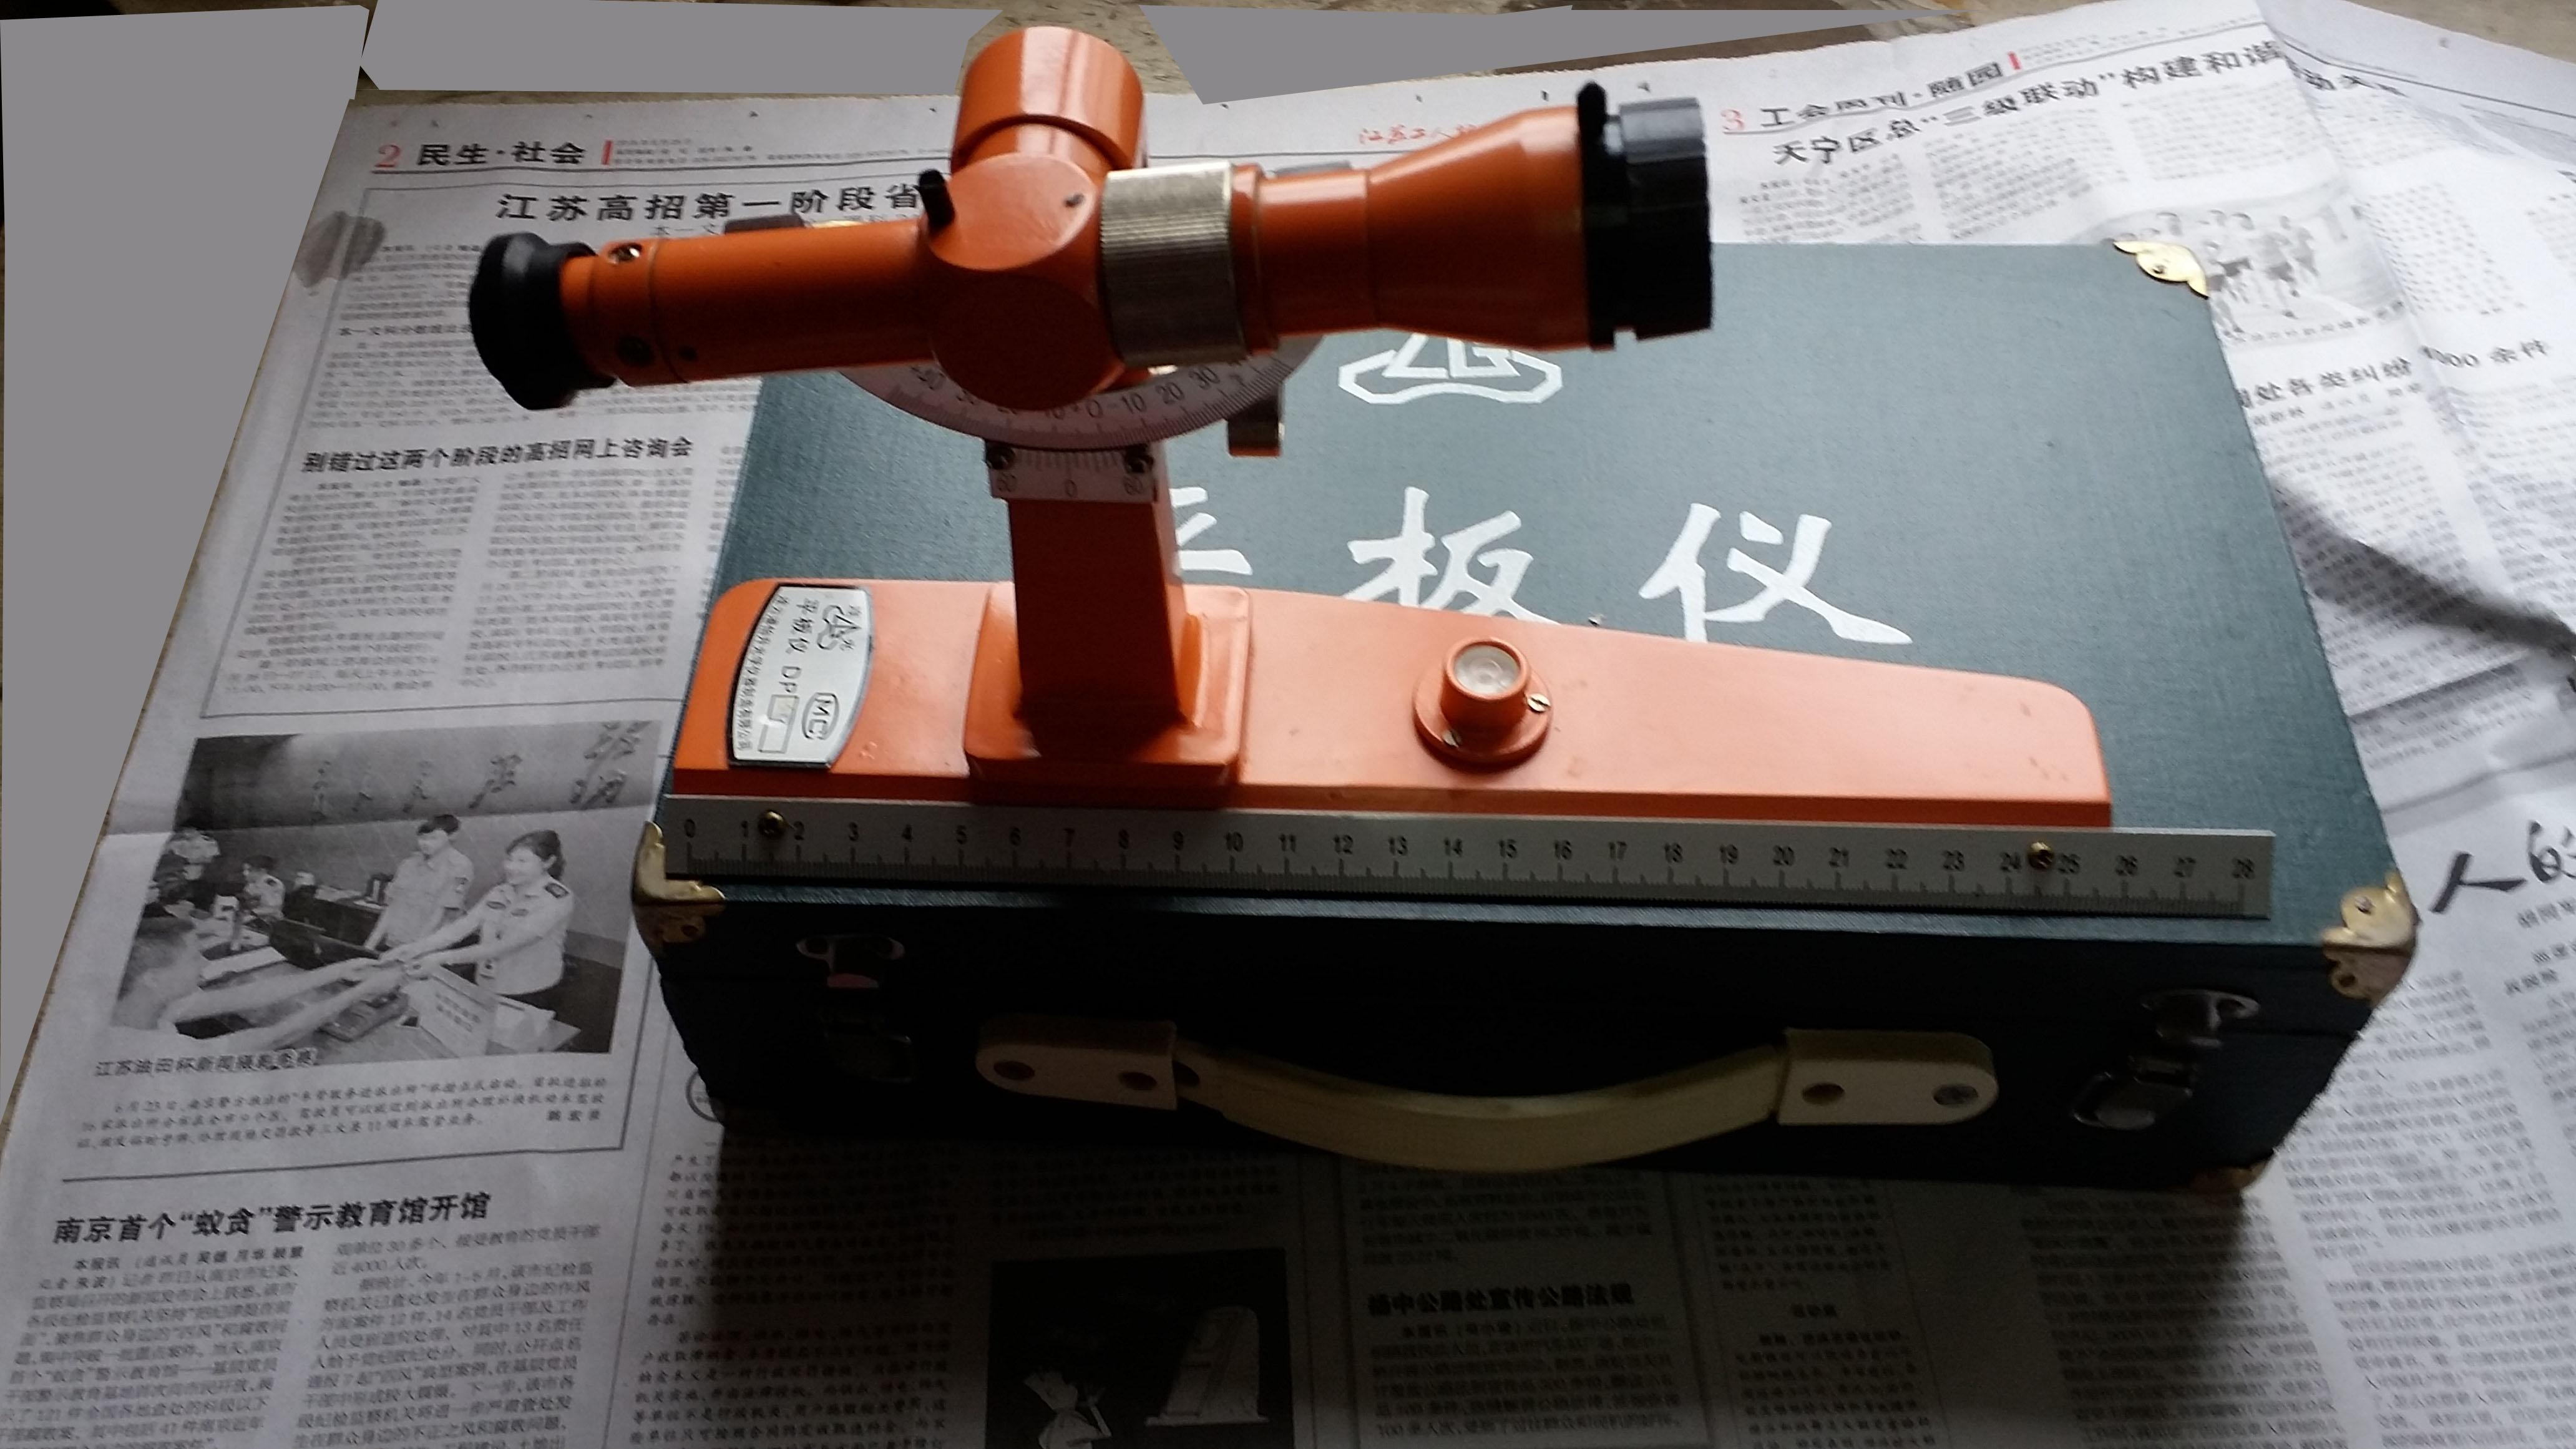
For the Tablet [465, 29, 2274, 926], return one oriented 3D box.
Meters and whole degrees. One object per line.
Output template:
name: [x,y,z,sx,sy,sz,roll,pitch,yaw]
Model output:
Tablet: [0.061,-0.151,1.353,1.213,0.466,0.377,1,34,6]
